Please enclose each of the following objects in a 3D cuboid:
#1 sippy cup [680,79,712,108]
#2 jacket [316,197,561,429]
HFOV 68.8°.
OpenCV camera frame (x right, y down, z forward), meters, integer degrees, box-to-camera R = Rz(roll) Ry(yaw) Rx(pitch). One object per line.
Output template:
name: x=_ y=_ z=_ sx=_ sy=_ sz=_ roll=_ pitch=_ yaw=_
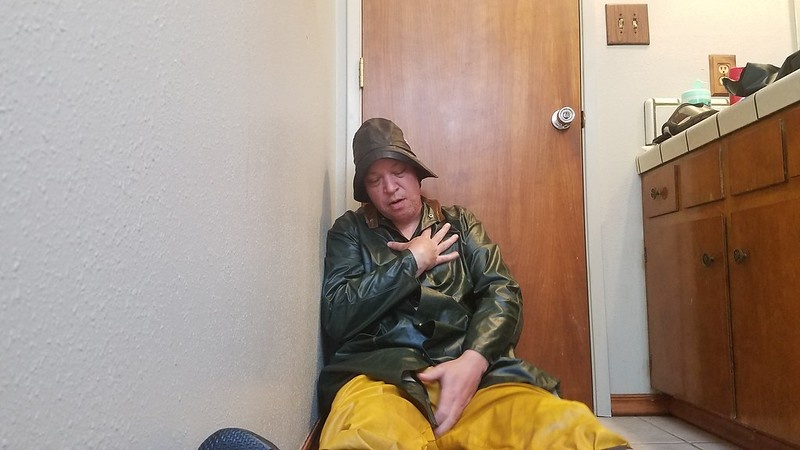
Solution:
sippy cup: x=1.237 y=-0.546 z=2.435 sx=0.137 sy=0.129 sz=0.137 roll=2 pitch=0 yaw=0
jacket: x=0.066 y=0.269 z=1.875 sx=0.574 sy=0.437 sz=0.801 roll=-4 pitch=32 yaw=-6
